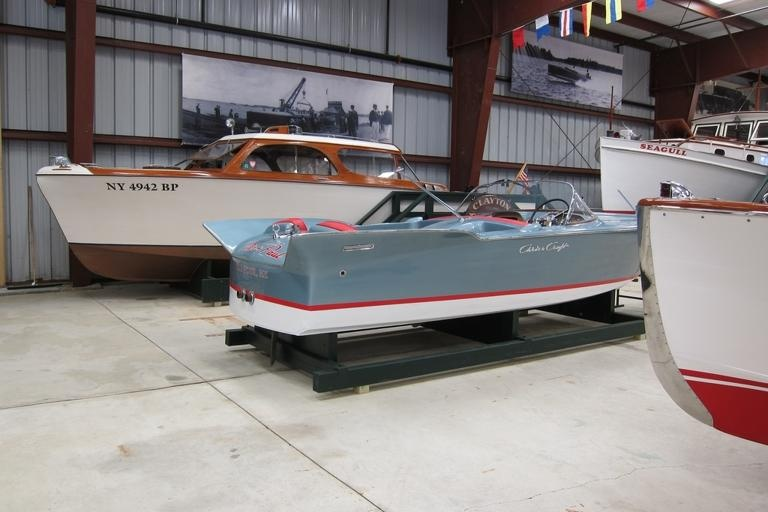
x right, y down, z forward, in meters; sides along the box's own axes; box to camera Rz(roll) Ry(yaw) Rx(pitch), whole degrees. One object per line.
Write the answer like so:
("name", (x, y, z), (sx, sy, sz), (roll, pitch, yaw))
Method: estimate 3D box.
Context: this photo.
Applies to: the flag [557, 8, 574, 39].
("flag", (2.649, -3.427, 7.994), (0.122, 0.346, 0.254), (6, 13, 26))
